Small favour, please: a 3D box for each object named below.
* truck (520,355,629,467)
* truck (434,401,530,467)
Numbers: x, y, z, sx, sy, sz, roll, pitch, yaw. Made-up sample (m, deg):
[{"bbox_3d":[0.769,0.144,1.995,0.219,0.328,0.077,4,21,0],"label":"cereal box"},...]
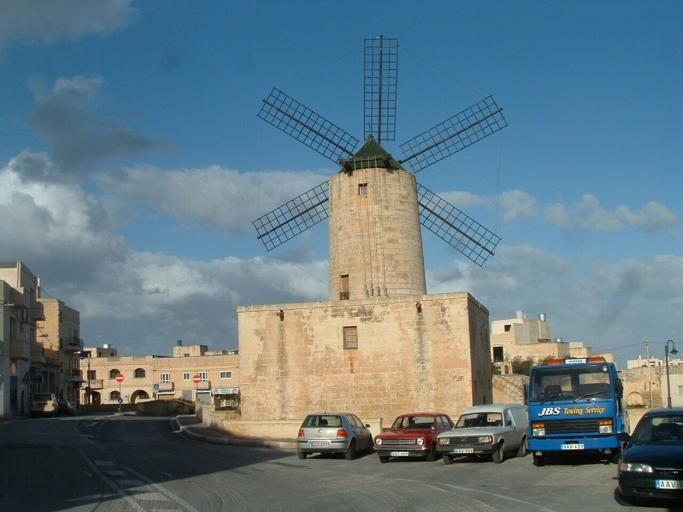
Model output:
[{"bbox_3d":[7.219,4.637,27.052,2.304,2.321,4.483,-4,-16,15],"label":"truck"},{"bbox_3d":[5.047,5.971,29.552,1.716,1.232,3.111,-8,-14,27],"label":"truck"}]
